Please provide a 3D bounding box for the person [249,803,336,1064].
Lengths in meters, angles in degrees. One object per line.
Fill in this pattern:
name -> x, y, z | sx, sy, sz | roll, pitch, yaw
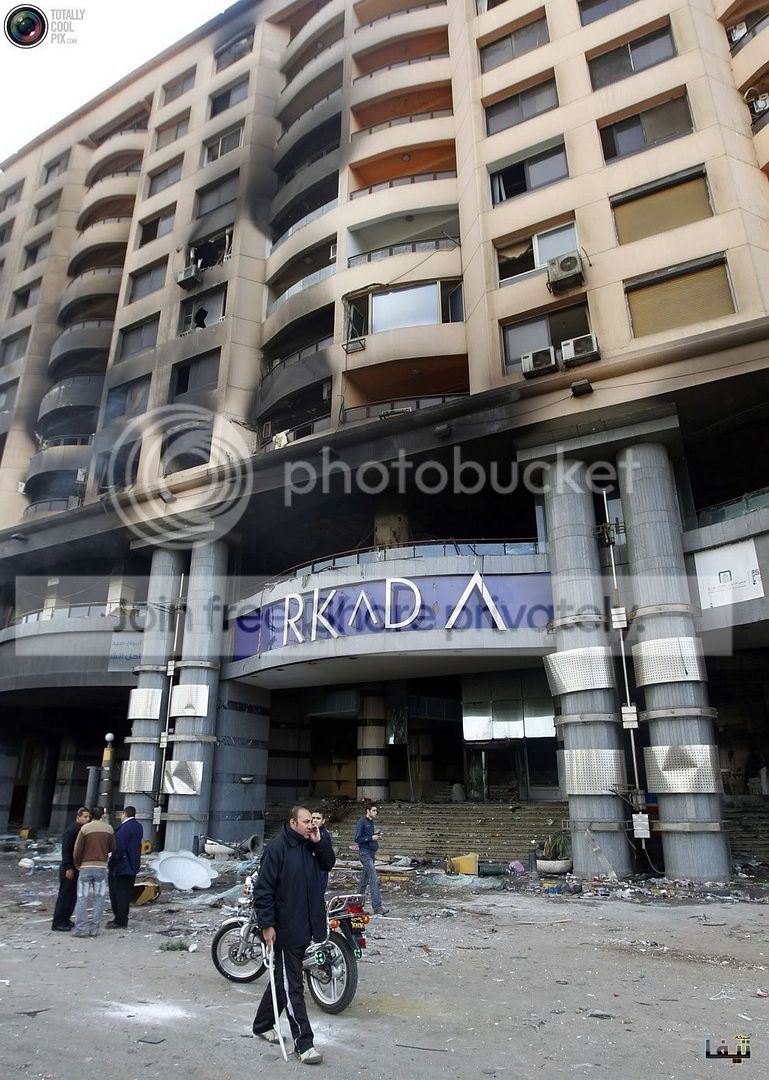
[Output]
person -> -0.622, 2.628, 4.779 | 0.525, 1.509, 0.835 | 1, -19, -5

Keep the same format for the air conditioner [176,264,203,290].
air conditioner -> -8.320, -11.174, 30.194 | 0.961, 0.951, 1.302 | 0, -9, -28

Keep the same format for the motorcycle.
motorcycle -> -0.826, 3.444, 6.216 | 1.629, 1.067, 0.715 | -12, -17, 35

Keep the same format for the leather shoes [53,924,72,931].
leather shoes -> -4.484, 5.408, 9.828 | 0.191, 0.076, 0.113 | 3, -6, -31

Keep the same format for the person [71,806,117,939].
person -> -4.023, 4.547, 9.681 | 0.500, 1.578, 0.909 | 7, -21, -21

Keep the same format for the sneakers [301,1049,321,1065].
sneakers -> -0.455, 3.130, 4.250 | 0.135, 0.086, 0.139 | -1, -19, 2
